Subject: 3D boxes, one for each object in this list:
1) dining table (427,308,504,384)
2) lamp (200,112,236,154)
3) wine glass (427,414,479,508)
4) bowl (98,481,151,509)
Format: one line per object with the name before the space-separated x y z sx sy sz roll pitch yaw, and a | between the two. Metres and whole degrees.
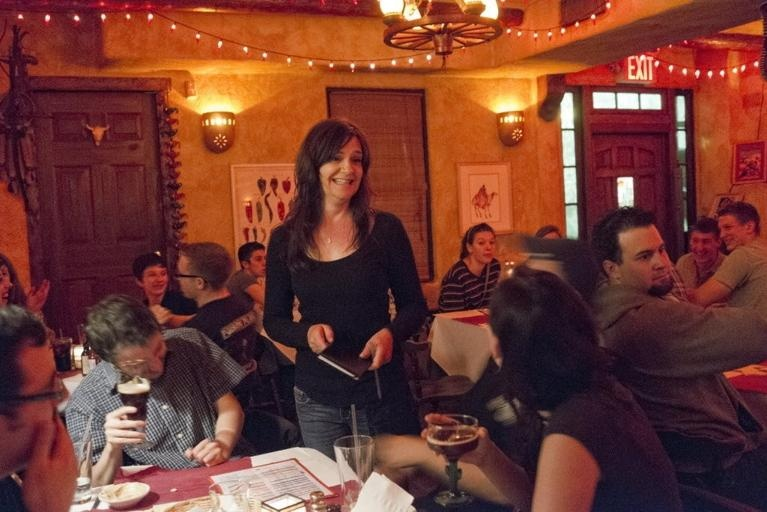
dining table | 0.604 0.671 4.469 0.670 0.469 0.641 -3 6 -19
lamp | -1.618 -1.253 6.222 0.406 0.440 0.388 -1 -2 -5
wine glass | 0.237 0.698 2.021 0.179 0.334 0.216 -4 7 -13
bowl | -0.907 0.839 2.087 0.102 0.034 0.099 1 1 0
